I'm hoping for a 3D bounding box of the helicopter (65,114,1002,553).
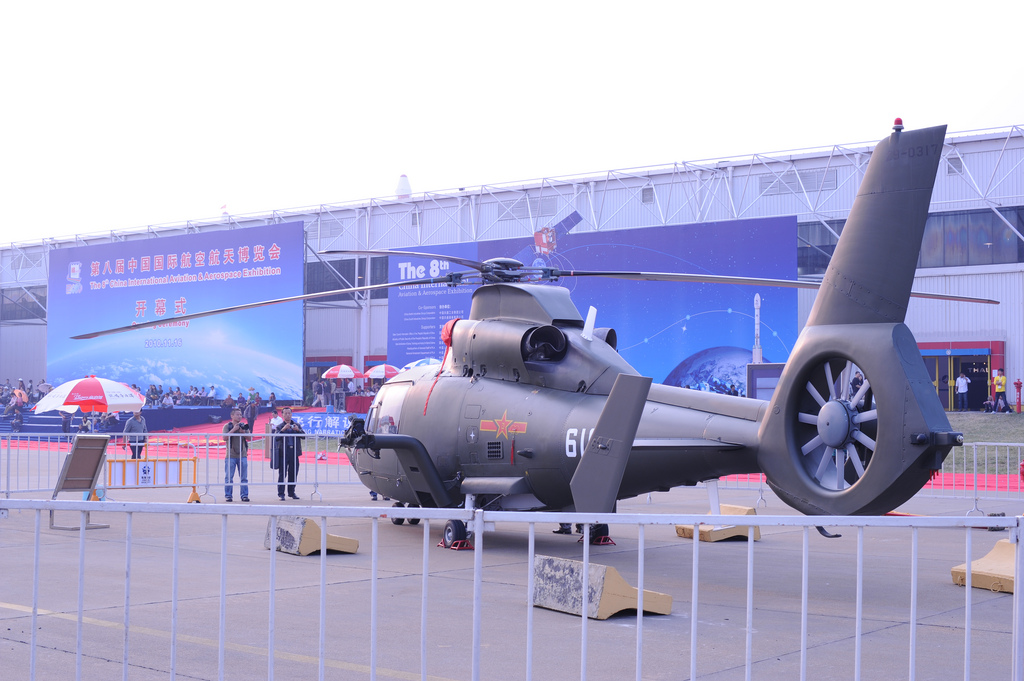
[{"bbox_3d":[2.279,0.280,21.855,10.476,7.320,12.244,5,-4,-43],"label":"helicopter"}]
